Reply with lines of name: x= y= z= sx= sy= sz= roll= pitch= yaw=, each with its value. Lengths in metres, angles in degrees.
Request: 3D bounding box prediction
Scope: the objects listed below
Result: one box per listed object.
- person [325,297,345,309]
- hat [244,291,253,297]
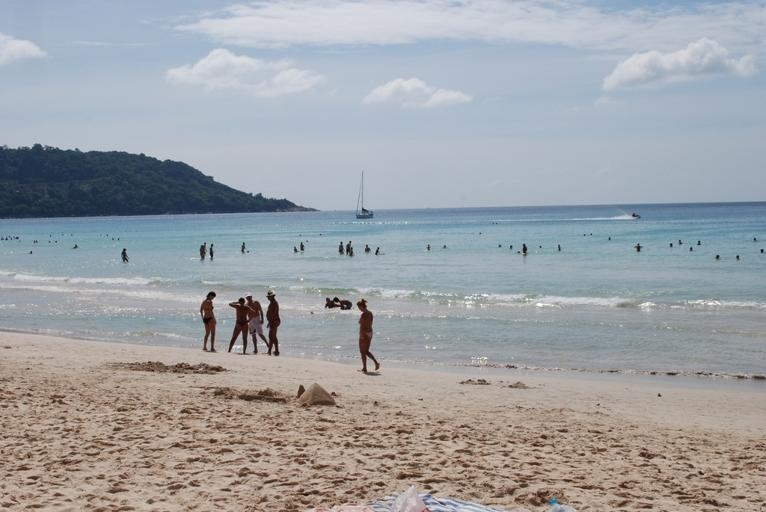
person: x=-2.085 y=2.010 z=38.283 sx=0.855 sy=0.356 sz=0.429 roll=1 pitch=1 yaw=-8
hat: x=-5.871 y=1.657 z=39.199 sx=0.432 sy=0.178 sz=0.559 roll=0 pitch=-4 yaw=-15
